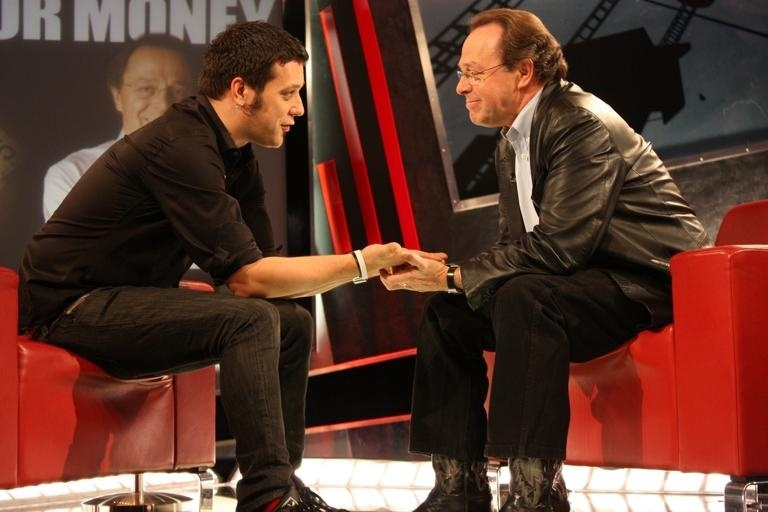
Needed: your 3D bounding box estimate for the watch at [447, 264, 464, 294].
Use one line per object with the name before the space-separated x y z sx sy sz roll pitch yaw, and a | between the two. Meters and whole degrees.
watch | 0.246 0.080 2.966 0.068 0.094 0.105 -5 3 9
